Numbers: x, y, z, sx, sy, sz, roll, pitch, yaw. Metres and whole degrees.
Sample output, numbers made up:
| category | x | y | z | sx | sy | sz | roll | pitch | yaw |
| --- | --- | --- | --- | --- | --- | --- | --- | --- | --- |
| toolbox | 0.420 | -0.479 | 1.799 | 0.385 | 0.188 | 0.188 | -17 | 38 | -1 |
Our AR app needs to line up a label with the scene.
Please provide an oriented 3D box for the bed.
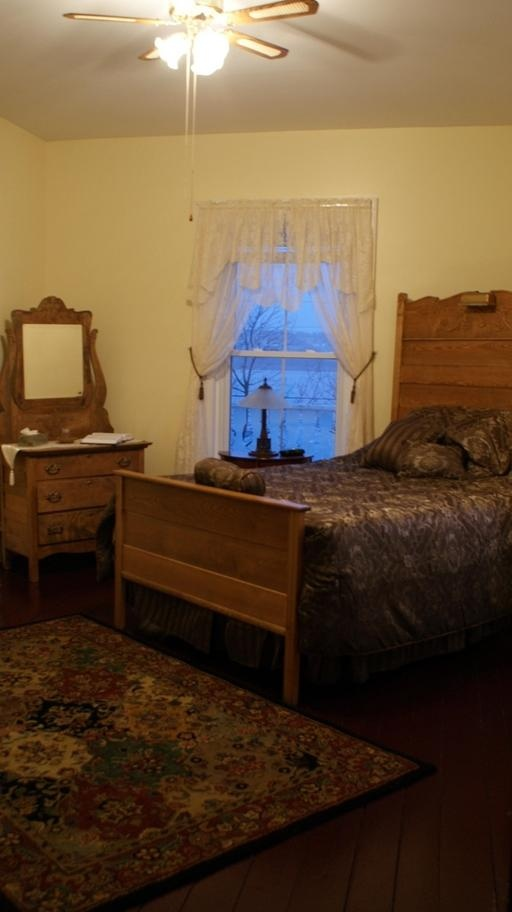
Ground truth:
| category | x | y | z | sx | sy | sz | roll | pitch | yaw |
| --- | --- | --- | --- | --- | --- | --- | --- | --- | --- |
| bed | 0.218 | -0.131 | 3.921 | 1.505 | 2.239 | 2.671 | 8 | 14 | 38 |

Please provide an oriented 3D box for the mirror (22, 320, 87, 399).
| category | x | y | z | sx | sy | sz | roll | pitch | yaw |
| --- | --- | --- | --- | --- | --- | --- | --- | --- | --- |
| mirror | -1.480 | -0.685 | 4.695 | 0.452 | 0.569 | 0.019 | -5 | 24 | -27 |

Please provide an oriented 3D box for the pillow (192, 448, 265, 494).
| category | x | y | z | sx | sy | sz | roll | pitch | yaw |
| --- | --- | --- | --- | --- | --- | --- | --- | --- | --- |
| pillow | -0.099 | 0.048 | 2.675 | 0.148 | 0.105 | 0.247 | -5 | 10 | -34 |

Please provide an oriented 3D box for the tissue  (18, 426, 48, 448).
| category | x | y | z | sx | sy | sz | roll | pitch | yaw |
| --- | --- | --- | --- | --- | --- | --- | --- | --- | --- |
| tissue  | -1.530 | -0.133 | 4.403 | 0.170 | 0.124 | 0.346 | 2 | 0 | -20 |
